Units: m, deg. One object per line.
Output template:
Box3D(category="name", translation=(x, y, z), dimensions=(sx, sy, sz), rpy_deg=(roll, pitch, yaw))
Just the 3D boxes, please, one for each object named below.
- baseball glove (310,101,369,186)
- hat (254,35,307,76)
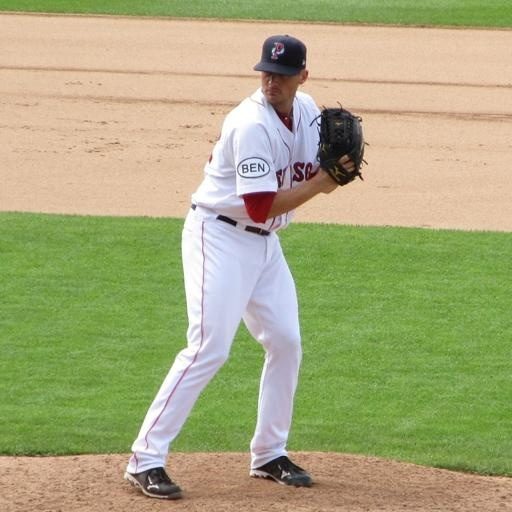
Box3D(category="baseball glove", translation=(0.680, -0.919, 11.741), dimensions=(0.446, 0.628, 0.293), rpy_deg=(-9, -2, -27))
Box3D(category="hat", translation=(0.187, -1.688, 11.728), dimensions=(0.396, 0.324, 0.579), rpy_deg=(13, 23, 21))
